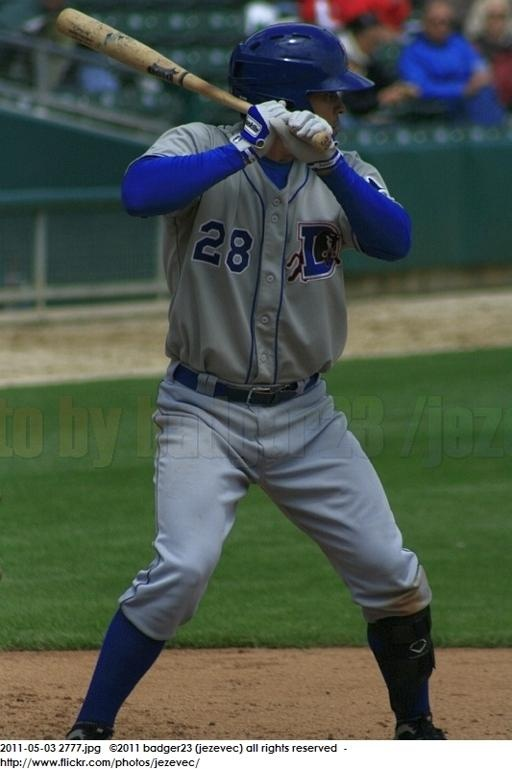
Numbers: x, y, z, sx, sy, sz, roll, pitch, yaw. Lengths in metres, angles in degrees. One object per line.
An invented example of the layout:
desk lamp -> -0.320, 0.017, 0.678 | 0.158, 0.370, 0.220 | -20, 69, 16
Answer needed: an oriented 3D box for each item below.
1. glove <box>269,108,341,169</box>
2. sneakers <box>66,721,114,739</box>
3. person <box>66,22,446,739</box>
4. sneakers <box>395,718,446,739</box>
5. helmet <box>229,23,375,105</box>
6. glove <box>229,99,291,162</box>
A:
glove -> 0.092, -0.538, 2.495 | 0.128, 0.123, 0.197 | -3, 9, -25
sneakers -> -0.365, 0.775, 2.533 | 0.123, 0.043, 0.034 | -5, 43, -8
person -> 0.008, -0.002, 2.623 | 0.856, 1.675, 0.434 | -1, 9, -9
sneakers -> 0.383, 0.802, 2.676 | 0.141, 0.050, 0.044 | 0, 6, -2
helmet -> 0.116, -0.755, 2.650 | 0.296, 0.142, 0.189 | 2, 24, 6
glove -> 0.012, -0.549, 2.470 | 0.119, 0.145, 0.058 | -2, -19, 22
